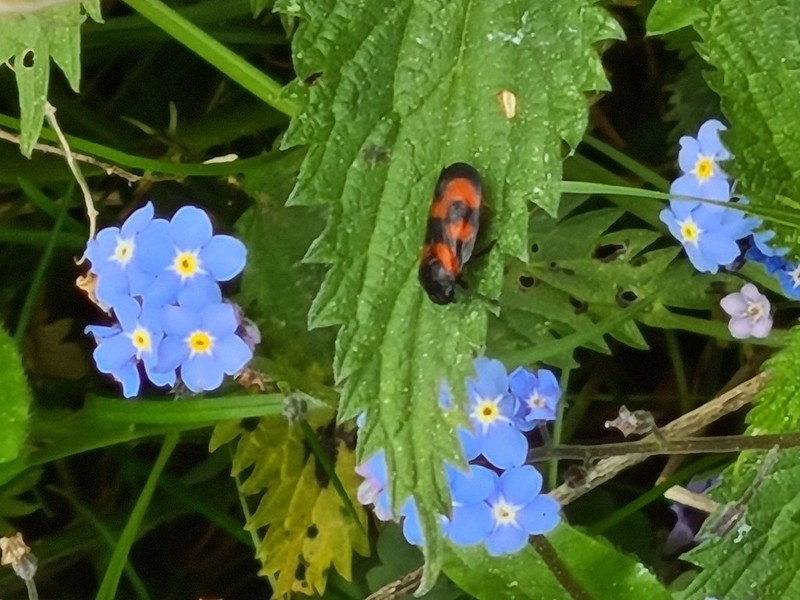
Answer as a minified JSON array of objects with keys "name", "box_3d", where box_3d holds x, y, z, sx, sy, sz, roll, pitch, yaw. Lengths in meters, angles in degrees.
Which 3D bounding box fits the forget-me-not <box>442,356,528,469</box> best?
[{"name":"forget-me-not","box_3d":[0.286,0.358,2.935,0.266,0.348,0.092,-1,-5,-19]}]

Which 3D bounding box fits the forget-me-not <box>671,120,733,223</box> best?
[{"name":"forget-me-not","box_3d":[0.980,-0.429,3.077,0.050,0.260,0.225,6,35,-49]}]

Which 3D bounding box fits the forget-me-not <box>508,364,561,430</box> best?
[{"name":"forget-me-not","box_3d":[0.440,0.315,3.049,0.158,0.201,0.072,-1,-4,-12]}]
